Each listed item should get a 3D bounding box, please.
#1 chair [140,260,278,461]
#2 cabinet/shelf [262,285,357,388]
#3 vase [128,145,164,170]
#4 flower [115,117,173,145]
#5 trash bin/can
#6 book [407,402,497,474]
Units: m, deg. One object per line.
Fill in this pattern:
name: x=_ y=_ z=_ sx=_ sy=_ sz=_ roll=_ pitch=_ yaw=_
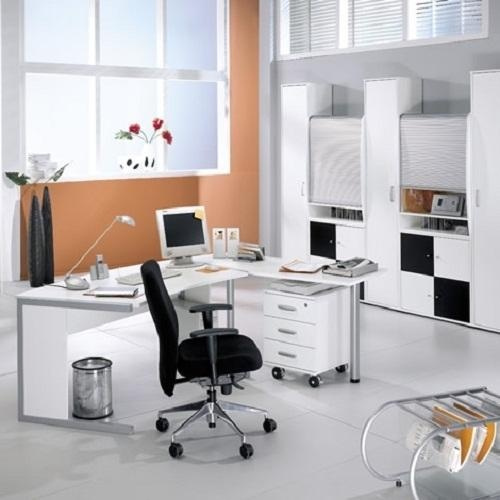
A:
chair: x=-0.223 y=0.588 z=2.782 sx=0.713 sy=0.958 sz=0.724 roll=-1 pitch=3 yaw=-20
cabinet/shelf: x=0.403 y=0.626 z=3.727 sx=0.472 sy=0.689 sz=0.457 roll=5 pitch=7 yaw=38
vase: x=-1.581 y=-1.405 z=7.449 sx=0.555 sy=0.427 sz=0.514 roll=-1 pitch=5 yaw=-11
flower: x=-1.538 y=-1.750 z=7.366 sx=0.539 sy=0.313 sz=0.557 roll=3 pitch=10 yaw=-6
trash bin/can: x=-0.980 y=0.875 z=3.063 sx=0.254 sy=0.299 sz=0.273 roll=-10 pitch=-12 yaw=33
book: x=0.634 y=0.594 z=1.547 sx=0.201 sy=0.133 sz=0.279 roll=4 pitch=16 yaw=43
